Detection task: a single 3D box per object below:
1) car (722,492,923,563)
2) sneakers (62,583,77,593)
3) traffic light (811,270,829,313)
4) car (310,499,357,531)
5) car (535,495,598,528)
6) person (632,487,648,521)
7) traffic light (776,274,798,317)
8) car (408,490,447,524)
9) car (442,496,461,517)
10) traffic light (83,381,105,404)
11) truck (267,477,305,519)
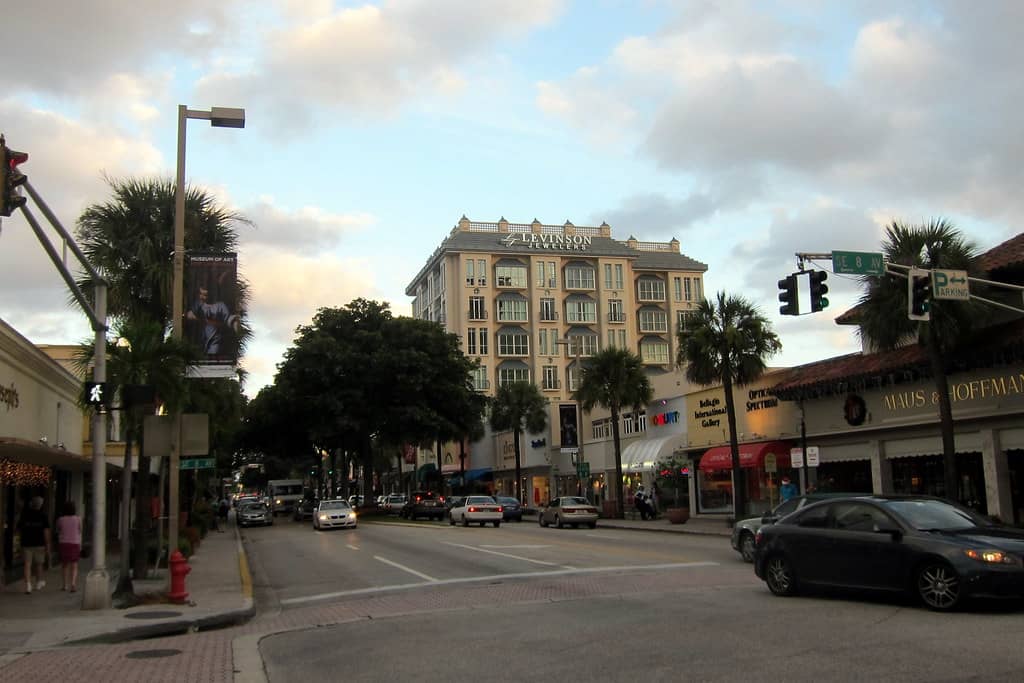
[{"bbox_3d":[7.542,5.252,24.251,2.316,1.894,5.097,6,-10,-43],"label":"car"},{"bbox_3d":[-11.403,6.345,23.244,0.211,0.265,0.632,4,-19,-15],"label":"sneakers"},{"bbox_3d":[9.136,-1.570,27.001,0.460,1.252,0.330,-6,-12,20],"label":"traffic light"},{"bbox_3d":[-9.526,9.205,48.447,1.807,1.559,2.823,4,-14,-26],"label":"car"},{"bbox_3d":[2.952,8.747,46.575,2.192,1.689,2.625,1,-12,-13],"label":"car"},{"bbox_3d":[7.267,9.158,50.967,0.799,1.721,1.334,-3,-11,6],"label":"person"},{"bbox_3d":[8.242,-1.453,27.043,0.511,1.295,1.347,-5,-12,16],"label":"traffic light"},{"bbox_3d":[-5.745,11.185,61.719,2.189,2.012,4.298,4,-14,-27],"label":"car"},{"bbox_3d":[-4.141,11.183,60.954,1.413,1.289,2.343,1,-4,-5],"label":"car"},{"bbox_3d":[-9.368,1.153,20.336,0.490,0.491,0.460,2,-10,-19],"label":"traffic light"},{"bbox_3d":[-21.184,14.593,84.027,3.140,3.171,5.838,2,-6,-14],"label":"truck"}]
